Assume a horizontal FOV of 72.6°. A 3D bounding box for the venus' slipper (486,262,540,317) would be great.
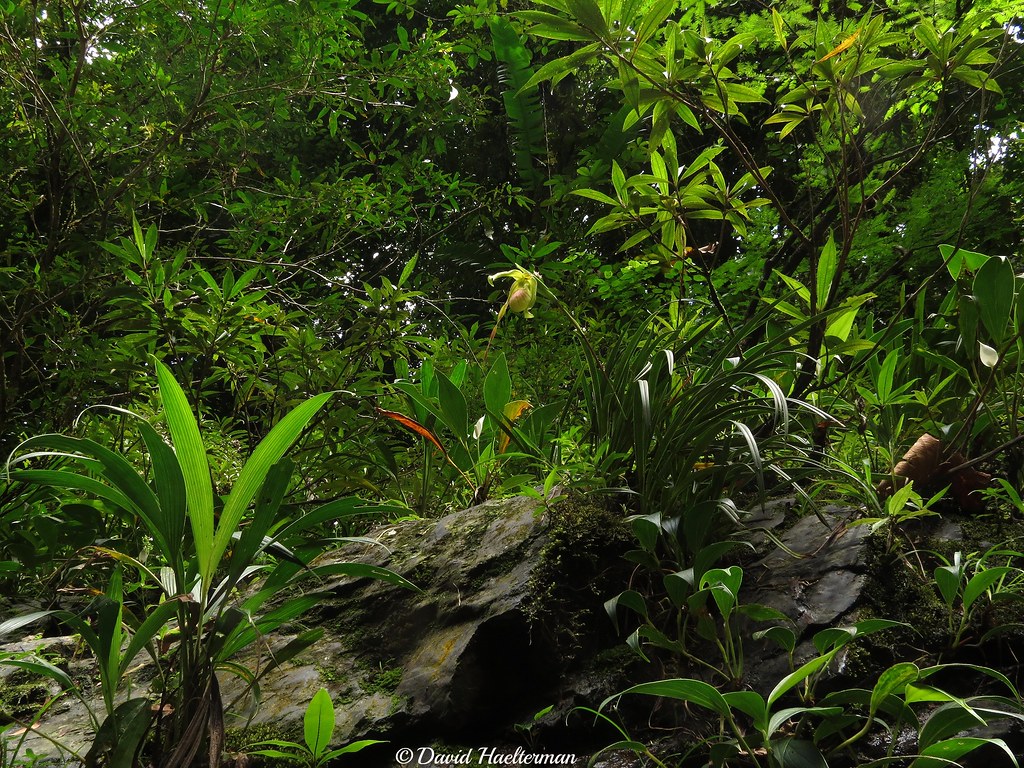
[{"bbox_3d":[0.036,-0.323,2.330,0.124,0.138,0.110,11,5,23],"label":"venus' slipper"}]
